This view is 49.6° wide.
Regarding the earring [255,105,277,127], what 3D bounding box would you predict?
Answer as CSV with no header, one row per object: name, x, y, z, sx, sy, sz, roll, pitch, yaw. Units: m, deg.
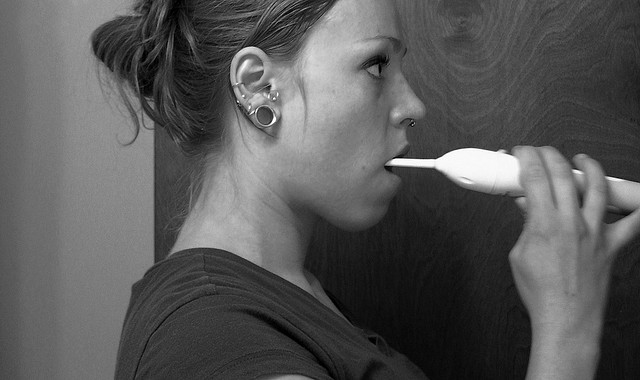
earring,-0.112,-0.153,1.414,0.038,0.022,0.040,-10,75,27

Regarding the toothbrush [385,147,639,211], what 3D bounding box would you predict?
toothbrush,0.446,-0.028,1.524,0.471,0.076,0.088,10,77,8

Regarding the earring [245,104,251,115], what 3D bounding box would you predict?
earring,-0.146,-0.166,1.411,0.004,0.005,0.017,28,102,22

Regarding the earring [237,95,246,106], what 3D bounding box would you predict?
earring,-0.160,-0.184,1.419,0.006,0.017,0.020,-111,39,-66
